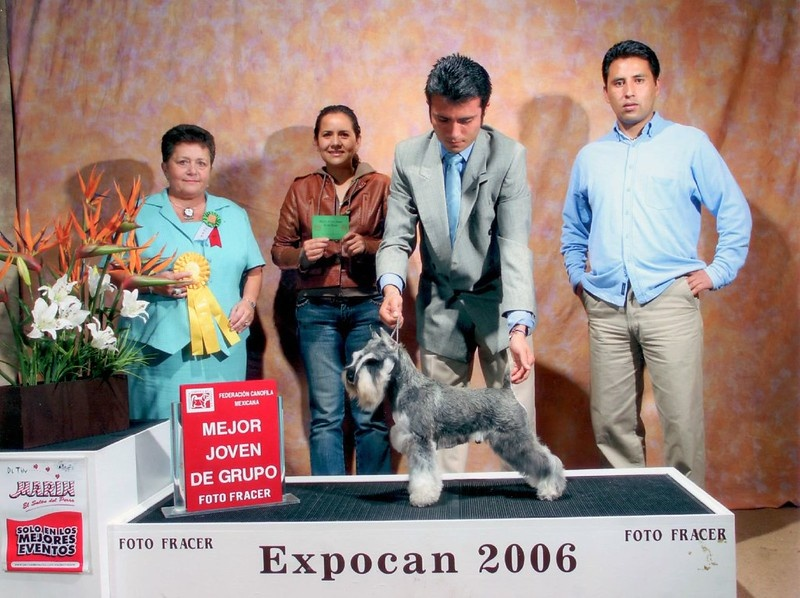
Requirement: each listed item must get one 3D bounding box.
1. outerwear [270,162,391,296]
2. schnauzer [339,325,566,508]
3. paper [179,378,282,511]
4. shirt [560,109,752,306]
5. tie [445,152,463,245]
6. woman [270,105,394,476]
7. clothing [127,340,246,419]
[{"bbox_3d":[-0.349,-0.390,4.675,0.720,0.737,0.421,1,2,-8],"label":"outerwear"},{"bbox_3d":[0.230,0.503,3.474,0.907,0.678,0.312,1,1,-9],"label":"schnauzer"},{"bbox_3d":[-0.703,0.613,3.438,0.466,0.572,0.042,-2,2,-10],"label":"paper"},{"bbox_3d":[1.274,-0.475,4.422,1.033,0.948,0.417,5,16,36],"label":"shirt"},{"bbox_3d":[0.256,-0.495,4.087,0.070,0.463,0.068,-4,-13,11],"label":"tie"},{"bbox_3d":[-0.289,0.085,4.698,0.754,2.268,0.717,-2,10,-8],"label":"woman"},{"bbox_3d":[-1.095,0.400,4.371,0.632,0.492,0.357,-1,-4,-20],"label":"clothing"}]
